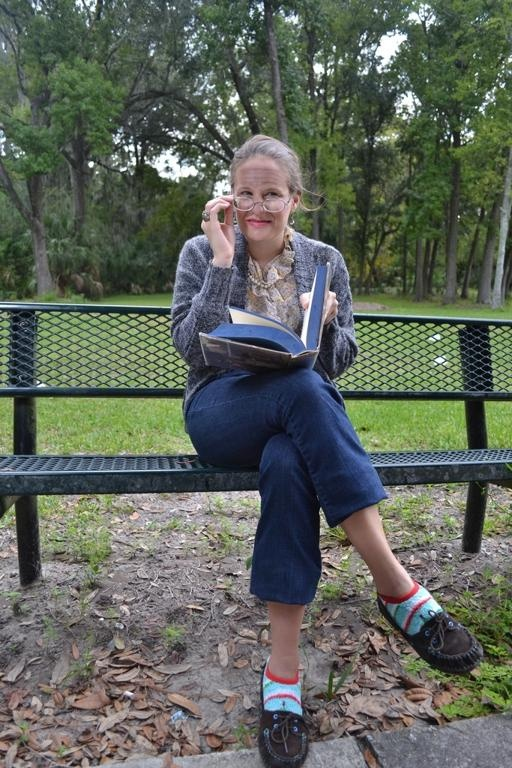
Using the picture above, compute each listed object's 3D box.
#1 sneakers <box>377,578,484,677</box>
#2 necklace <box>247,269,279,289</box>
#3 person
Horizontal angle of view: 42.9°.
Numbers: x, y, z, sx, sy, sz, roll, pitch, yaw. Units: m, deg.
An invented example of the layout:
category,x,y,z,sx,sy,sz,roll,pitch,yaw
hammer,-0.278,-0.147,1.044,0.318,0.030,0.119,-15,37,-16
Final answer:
category,x,y,z,sx,sy,sz,roll,pitch,yaw
sneakers,0.414,0.584,1.633,0.130,0.109,0.298,-34,40,-13
necklace,0.025,-0.367,2.230,0.079,0.081,0.033,-4,6,-10
person,0.131,0.030,1.850,0.641,1.584,1.069,-2,8,-14
